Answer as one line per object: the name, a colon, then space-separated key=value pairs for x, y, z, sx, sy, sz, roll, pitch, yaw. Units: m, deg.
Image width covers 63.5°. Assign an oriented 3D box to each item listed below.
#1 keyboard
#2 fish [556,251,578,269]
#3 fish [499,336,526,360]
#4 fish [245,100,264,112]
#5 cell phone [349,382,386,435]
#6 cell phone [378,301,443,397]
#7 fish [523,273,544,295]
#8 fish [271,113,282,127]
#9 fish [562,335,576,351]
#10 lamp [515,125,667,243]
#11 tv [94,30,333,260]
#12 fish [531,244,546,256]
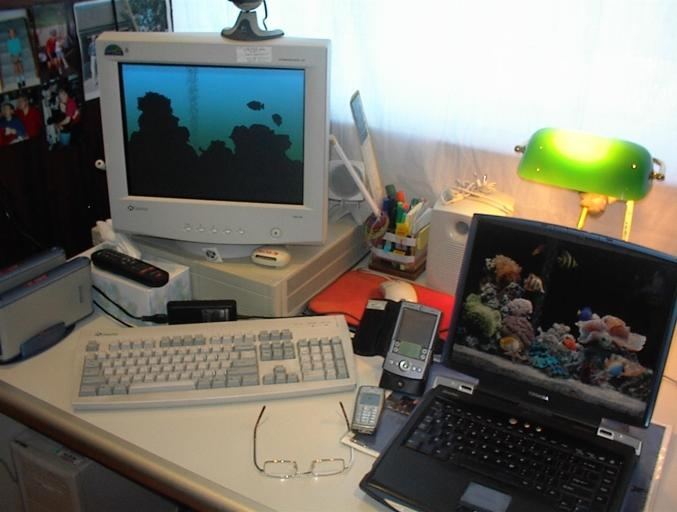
keyboard: x=-0.277 y=0.244 z=1.231 sx=0.597 sy=0.057 sz=0.240 roll=-2 pitch=27 yaw=-8
fish: x=0.444 y=0.007 z=1.063 sx=0.035 sy=0.030 sz=0.010 roll=29 pitch=19 yaw=20
fish: x=0.360 y=0.186 z=1.131 sx=0.046 sy=0.039 sz=0.038 roll=34 pitch=23 yaw=-25
fish: x=-0.200 y=-0.366 z=1.318 sx=0.040 sy=0.022 sz=0.003 roll=1 pitch=17 yaw=-1
cell phone: x=0.060 y=0.315 z=1.136 sx=0.049 sy=0.031 sz=0.095 roll=4 pitch=47 yaw=16
cell phone: x=0.166 y=0.201 z=1.230 sx=0.113 sy=0.214 sz=0.064 roll=13 pitch=-12 yaw=22
fish: x=0.391 y=0.056 z=1.092 sx=0.040 sy=0.030 sz=0.014 roll=3 pitch=10 yaw=41
fish: x=-0.148 y=-0.334 z=1.325 sx=0.019 sy=0.026 sz=0.006 roll=-1 pitch=25 yaw=5
fish: x=0.458 y=0.171 z=1.086 sx=0.030 sy=0.025 sz=0.023 roll=21 pitch=9 yaw=-5
lamp: x=0.635 y=-0.230 z=1.405 sx=0.347 sy=0.299 sz=0.286 roll=14 pitch=27 yaw=24
tv: x=-0.307 y=-0.277 z=1.355 sx=0.550 sy=0.482 sz=0.112 roll=6 pitch=25 yaw=10
fish: x=0.395 y=-0.013 z=1.080 sx=0.018 sy=0.031 sz=0.011 roll=34 pitch=7 yaw=-3
